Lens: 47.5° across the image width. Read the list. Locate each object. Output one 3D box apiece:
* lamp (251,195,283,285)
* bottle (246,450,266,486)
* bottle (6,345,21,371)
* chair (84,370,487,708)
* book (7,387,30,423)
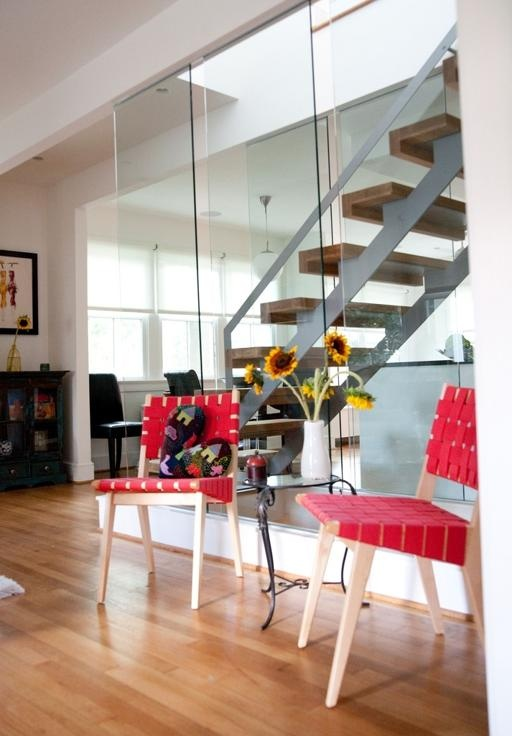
[{"bbox_3d":[0.048,-0.597,2.664,0.140,0.387,0.046,1,1,28],"label":"lamp"},{"bbox_3d":[0.016,0.384,2.119,0.078,0.114,0.079,-1,-3,0],"label":"bottle"},{"bbox_3d":[-2.184,-0.089,5.263,0.131,0.244,0.464,0,1,-23],"label":"bottle"},{"bbox_3d":[0.200,0.430,1.634,0.689,1.014,0.605,2,-5,-31],"label":"chair"},{"bbox_3d":[-2.070,0.336,5.051,0.164,0.281,0.051,0,1,-28],"label":"book"}]
